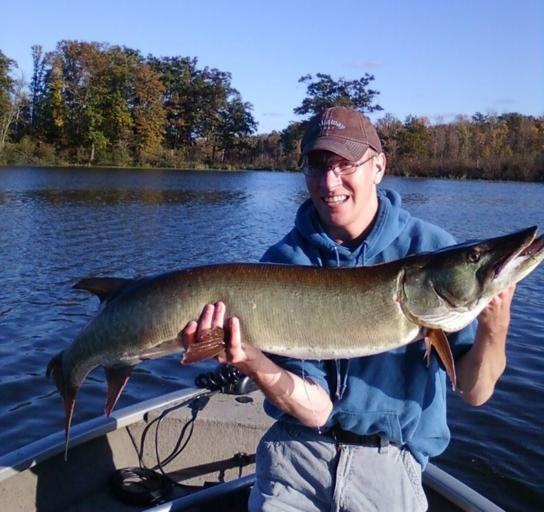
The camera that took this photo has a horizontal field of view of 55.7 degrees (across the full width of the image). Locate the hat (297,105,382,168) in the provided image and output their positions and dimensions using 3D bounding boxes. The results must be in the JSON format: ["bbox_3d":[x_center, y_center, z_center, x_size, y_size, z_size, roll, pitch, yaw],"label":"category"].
[{"bbox_3d":[0.333,-0.670,2.809,0.436,0.251,0.551,0,14,20],"label":"hat"}]

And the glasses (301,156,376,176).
[{"bbox_3d":[0.317,-0.449,2.669,0.206,0.048,0.207,-2,1,25],"label":"glasses"}]
